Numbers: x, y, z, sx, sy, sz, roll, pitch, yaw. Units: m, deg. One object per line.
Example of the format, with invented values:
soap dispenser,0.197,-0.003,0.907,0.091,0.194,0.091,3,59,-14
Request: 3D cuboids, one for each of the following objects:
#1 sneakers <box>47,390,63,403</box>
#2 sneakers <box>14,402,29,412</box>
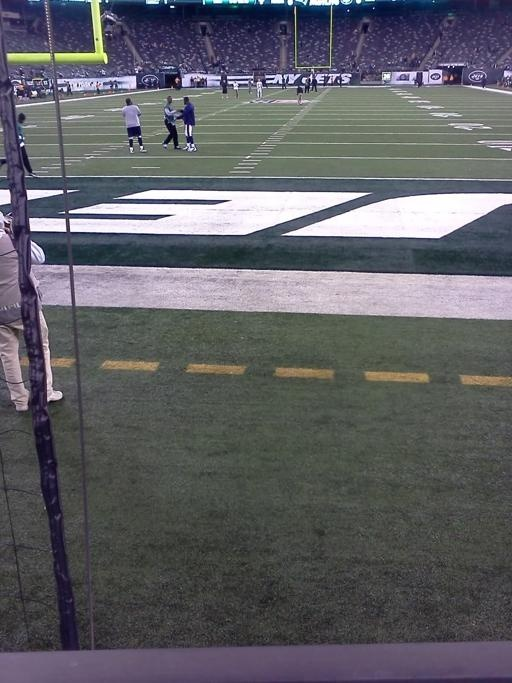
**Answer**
sneakers,-1.533,0.424,4.745,0.044,0.076,0.116,29,35,12
sneakers,-1.741,0.488,4.619,0.046,0.076,0.120,6,16,-7
